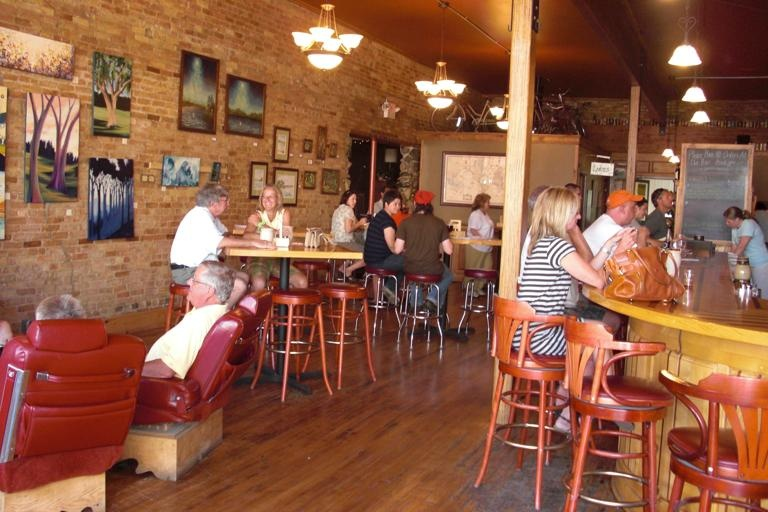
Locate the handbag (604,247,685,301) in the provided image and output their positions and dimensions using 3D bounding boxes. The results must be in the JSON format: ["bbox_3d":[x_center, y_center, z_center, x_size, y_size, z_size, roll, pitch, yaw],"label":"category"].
[{"bbox_3d":[1.768,0.113,3.901,0.592,0.379,0.349,-1,6,-24],"label":"handbag"}]

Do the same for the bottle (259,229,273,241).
[{"bbox_3d":[-1.177,-0.216,5.670,0.113,0.121,0.113,1,2,19],"label":"bottle"}]

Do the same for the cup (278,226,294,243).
[{"bbox_3d":[-0.961,-0.215,5.639,0.188,0.186,0.146,3,-3,-24],"label":"cup"}]

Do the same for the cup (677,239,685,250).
[{"bbox_3d":[4.115,-0.166,7.845,0.161,0.149,0.088,-12,13,-39],"label":"cup"}]

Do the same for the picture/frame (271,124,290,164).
[{"bbox_3d":[-1.733,-1.880,9.394,0.058,0.732,0.676,3,4,22],"label":"picture/frame"}]

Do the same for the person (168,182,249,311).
[{"bbox_3d":[-1.849,0.036,6.116,0.937,1.562,0.746,1,4,2],"label":"person"}]

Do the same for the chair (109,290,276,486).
[{"bbox_3d":[-1.398,0.906,4.515,1.182,1.362,1.121,4,4,12],"label":"chair"}]

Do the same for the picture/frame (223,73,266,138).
[{"bbox_3d":[-2.156,-2.306,8.611,0.079,1.057,1.069,3,7,30],"label":"picture/frame"}]

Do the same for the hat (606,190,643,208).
[{"bbox_3d":[2.238,-0.545,5.219,0.386,0.151,0.244,-10,11,-27],"label":"hat"}]

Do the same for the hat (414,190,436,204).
[{"bbox_3d":[0.547,-0.804,7.747,0.237,0.114,0.318,0,7,-3],"label":"hat"}]

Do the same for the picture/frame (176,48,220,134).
[{"bbox_3d":[-2.592,-2.268,7.888,0.094,1.047,0.704,7,10,23],"label":"picture/frame"}]
